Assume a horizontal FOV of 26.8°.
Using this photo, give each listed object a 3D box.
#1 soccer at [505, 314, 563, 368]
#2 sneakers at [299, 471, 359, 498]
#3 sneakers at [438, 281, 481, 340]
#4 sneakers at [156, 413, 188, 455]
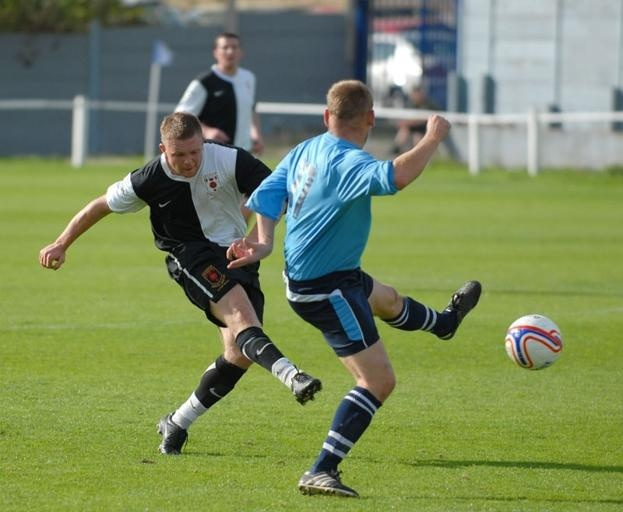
[{"bbox_3d":[1.585,0.644,9.288,0.386,0.411,0.238,2,15,9],"label":"soccer"},{"bbox_3d":[0.097,1.446,8.276,0.432,0.193,0.143,6,-28,9],"label":"sneakers"},{"bbox_3d":[1.198,0.456,10.442,0.169,0.497,0.206,28,-26,31],"label":"sneakers"},{"bbox_3d":[-0.937,1.238,8.783,0.174,0.315,0.117,-25,-29,17],"label":"sneakers"}]
